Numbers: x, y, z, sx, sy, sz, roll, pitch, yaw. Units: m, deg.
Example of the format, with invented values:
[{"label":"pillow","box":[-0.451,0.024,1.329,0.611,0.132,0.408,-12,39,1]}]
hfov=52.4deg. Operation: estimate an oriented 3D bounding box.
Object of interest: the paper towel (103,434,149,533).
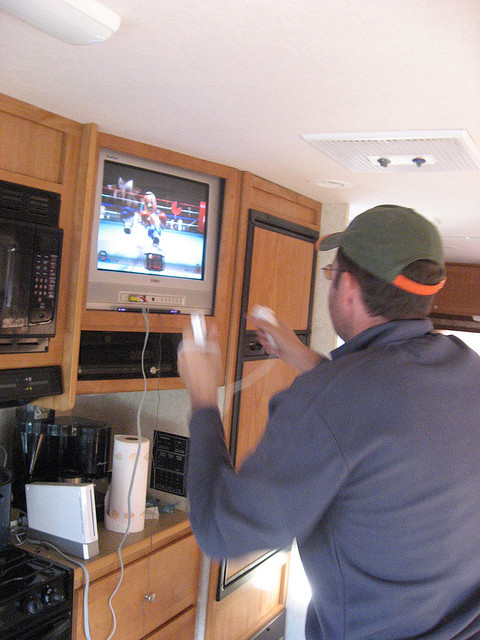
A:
[{"label":"paper towel","box":[-0.380,0.554,1.677,0.168,0.287,0.184,2,2,-39]}]

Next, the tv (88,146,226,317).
[{"label":"tv","box":[-0.311,-0.293,1.660,0.468,0.505,0.180,2,4,-36]}]
